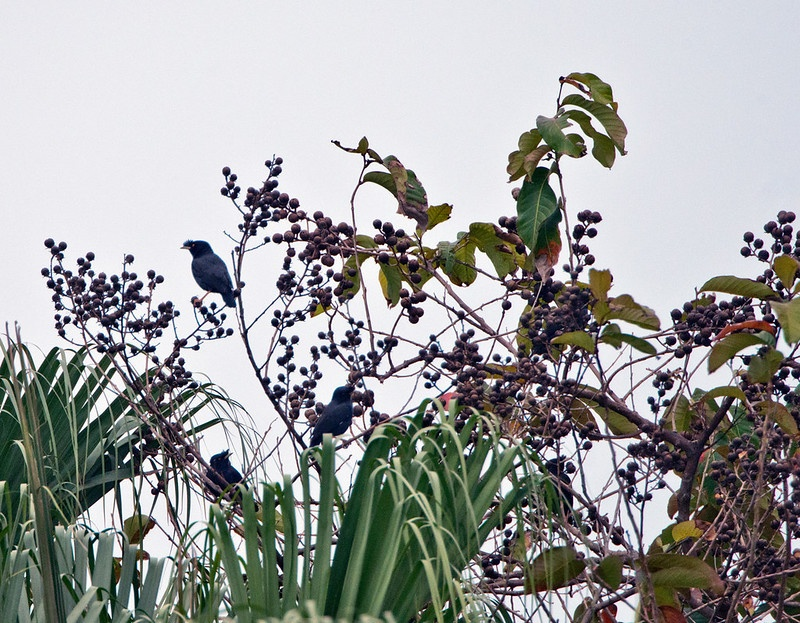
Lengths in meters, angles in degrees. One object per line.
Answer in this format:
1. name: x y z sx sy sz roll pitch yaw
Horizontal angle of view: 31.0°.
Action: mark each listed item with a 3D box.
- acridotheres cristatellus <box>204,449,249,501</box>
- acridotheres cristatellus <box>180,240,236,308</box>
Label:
1. acridotheres cristatellus: -0.824 0.763 6.607 0.146 0.279 0.268 -12 2 -21
2. acridotheres cristatellus: -0.920 -0.167 7.018 0.140 0.316 0.362 -24 -54 -25
